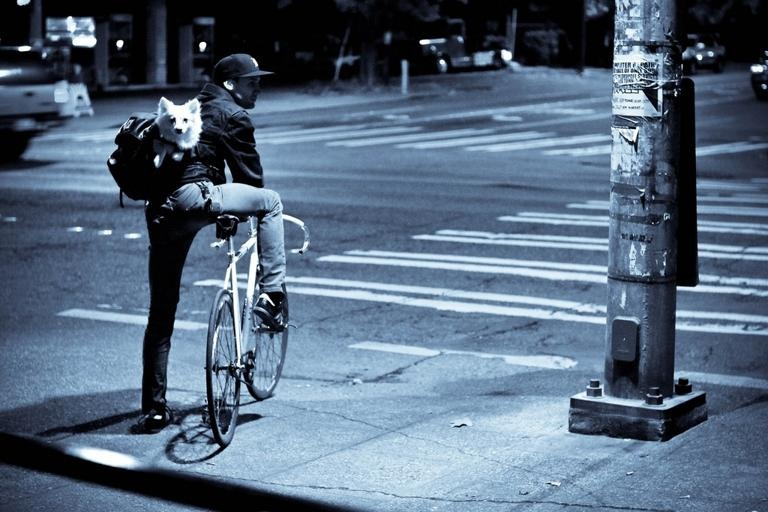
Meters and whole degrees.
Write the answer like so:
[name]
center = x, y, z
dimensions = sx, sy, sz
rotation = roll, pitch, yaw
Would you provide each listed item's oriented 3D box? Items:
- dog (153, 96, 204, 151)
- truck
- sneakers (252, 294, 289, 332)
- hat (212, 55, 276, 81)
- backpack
[dog]
center = -1.802, -1.121, 10.905
dimensions = 0.388, 0.403, 0.518
rotation = 0, -7, -18
[truck]
center = 3.345, -8.094, 49.222
dimensions = 3.164, 1.622, 1.881
rotation = -2, 12, -17
[sneakers]
center = -1.027, 0.509, 11.569
dimensions = 0.233, 0.280, 0.640
rotation = 12, -15, 15
[hat]
center = -1.317, -1.698, 11.278
dimensions = 0.375, 0.178, 0.247
rotation = -3, 16, -3
[backpack]
center = -1.865, -1.053, 10.867
dimensions = 0.547, 0.335, 0.720
rotation = -1, -30, -23
